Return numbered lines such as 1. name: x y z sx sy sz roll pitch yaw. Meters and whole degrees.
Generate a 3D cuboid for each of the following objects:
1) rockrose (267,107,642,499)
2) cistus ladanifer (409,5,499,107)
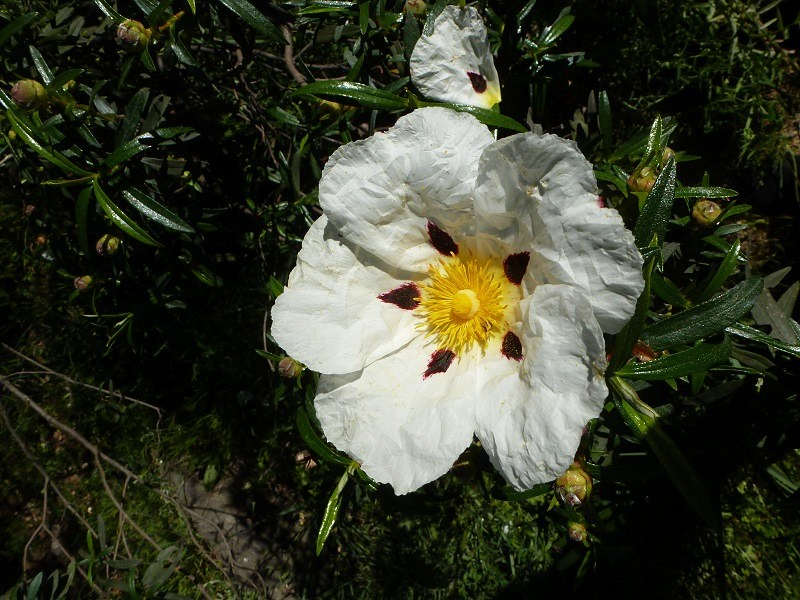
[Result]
1. rockrose: 0.279 -0.103 3.642 2.206 1.916 1.878 -3 21 -27
2. cistus ladanifer: 0.264 -1.246 3.281 0.475 0.583 0.196 -3 5 2
